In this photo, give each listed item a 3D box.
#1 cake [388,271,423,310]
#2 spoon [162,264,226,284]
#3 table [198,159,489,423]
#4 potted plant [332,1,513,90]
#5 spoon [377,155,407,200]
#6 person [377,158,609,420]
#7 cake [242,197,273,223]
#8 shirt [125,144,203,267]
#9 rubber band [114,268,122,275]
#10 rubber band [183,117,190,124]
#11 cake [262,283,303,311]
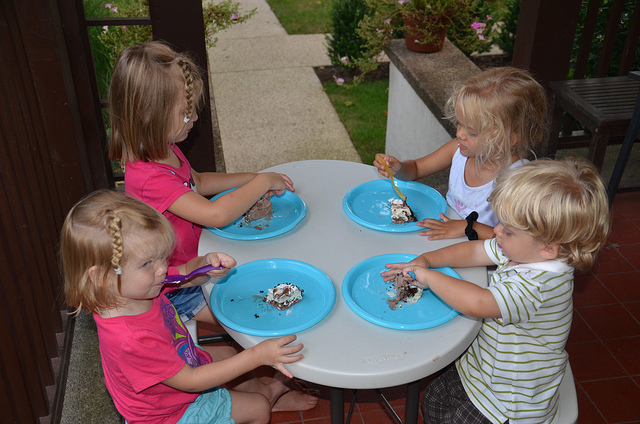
[{"bbox_3d":[0.355,0.333,1.998,0.124,0.098,0.155,11,35,18],"label":"cake"},{"bbox_3d":[-0.552,0.277,2.107,0.290,0.039,0.059,-12,47,12],"label":"spoon"},{"bbox_3d":[0.132,0.686,2.713,1.363,1.042,1.601,-6,52,-9],"label":"table"},{"bbox_3d":[1.064,-1.942,4.901,1.547,0.843,1.526,-10,31,-12],"label":"potted plant"},{"bbox_3d":[0.388,-0.167,2.596,0.059,0.058,0.383,-25,57,3],"label":"spoon"},{"bbox_3d":[0.765,0.385,1.990,0.802,1.064,0.563,-11,35,-14],"label":"person"},{"bbox_3d":[-0.315,-0.010,2.455,0.141,0.059,0.105,-20,51,-9],"label":"cake"},{"bbox_3d":[-0.739,-0.020,2.222,0.246,0.449,0.450,-13,55,-7],"label":"shirt"},{"bbox_3d":[-0.783,0.232,1.853,0.017,0.020,0.007,7,3,-9],"label":"rubber band"},{"bbox_3d":[-0.675,-0.467,2.399,0.029,0.032,0.011,1,-12,-21],"label":"rubber band"},{"bbox_3d":[-0.160,0.364,2.025,0.172,0.046,0.112,-3,33,-3],"label":"cake"}]
